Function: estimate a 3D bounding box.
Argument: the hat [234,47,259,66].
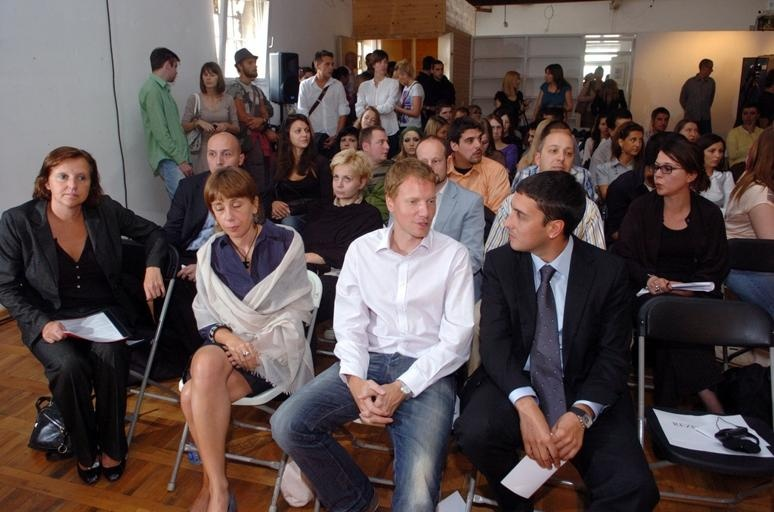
[{"bbox_3d":[-1.776,-2.458,6.797,0.264,0.115,0.243,-15,11,9],"label":"hat"}]

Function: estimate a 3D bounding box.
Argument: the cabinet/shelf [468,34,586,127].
[{"bbox_3d":[2.717,-3.476,10.928,1.779,1.587,0.454,3,4,8],"label":"cabinet/shelf"}]

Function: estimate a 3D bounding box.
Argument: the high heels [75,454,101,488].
[{"bbox_3d":[-1.808,1.314,3.331,0.105,0.190,0.061,-11,11,-18],"label":"high heels"}]
